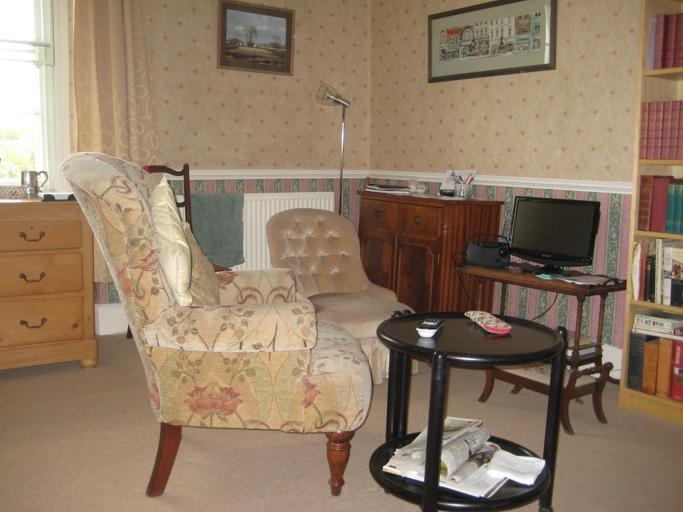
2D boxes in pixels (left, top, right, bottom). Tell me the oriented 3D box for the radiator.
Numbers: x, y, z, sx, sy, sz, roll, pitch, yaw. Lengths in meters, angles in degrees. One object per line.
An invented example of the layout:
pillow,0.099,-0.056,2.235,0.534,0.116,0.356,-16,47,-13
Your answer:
radiator,-0.909,-0.232,4.428,0.077,0.663,1.025,-11,4,16

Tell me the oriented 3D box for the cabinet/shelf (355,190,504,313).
cabinet/shelf,0.610,0.032,4.507,0.573,0.970,0.988,-5,12,-40

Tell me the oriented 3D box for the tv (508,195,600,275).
tv,1.370,-0.136,3.698,0.144,0.459,0.624,-9,13,-33

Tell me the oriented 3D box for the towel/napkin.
towel/napkin,-0.997,-0.217,4.642,0.487,0.600,0.062,3,13,20
